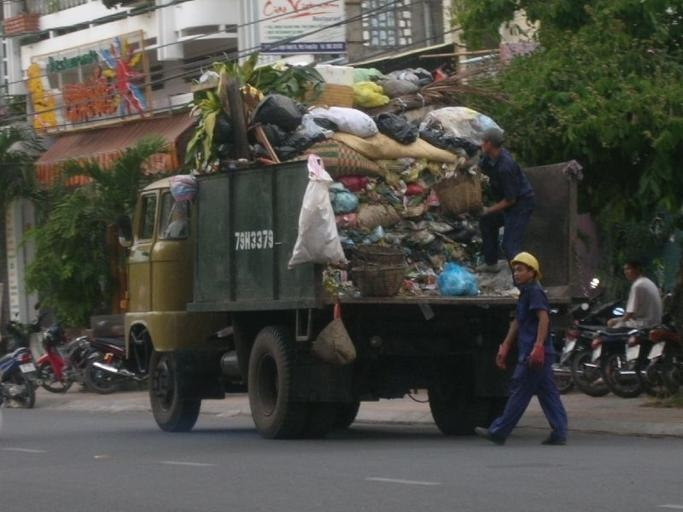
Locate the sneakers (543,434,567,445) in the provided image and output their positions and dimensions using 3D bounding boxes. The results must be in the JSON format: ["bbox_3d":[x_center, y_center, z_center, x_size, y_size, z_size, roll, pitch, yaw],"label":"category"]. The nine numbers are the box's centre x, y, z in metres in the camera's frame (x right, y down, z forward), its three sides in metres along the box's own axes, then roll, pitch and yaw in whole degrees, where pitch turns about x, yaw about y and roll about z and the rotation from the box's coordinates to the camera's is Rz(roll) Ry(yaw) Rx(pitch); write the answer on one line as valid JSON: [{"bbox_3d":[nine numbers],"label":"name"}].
[{"bbox_3d":[2.553,2.217,15.600,0.114,0.136,0.309,-2,2,-33],"label":"sneakers"}]

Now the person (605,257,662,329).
[{"bbox_3d":[4.577,0.624,20.352,0.855,1.139,0.752,2,3,25],"label":"person"}]

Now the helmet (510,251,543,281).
[{"bbox_3d":[2.245,0.093,15.505,0.367,0.192,0.270,24,-8,-12],"label":"helmet"}]

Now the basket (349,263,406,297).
[{"bbox_3d":[0.446,0.279,15.750,0.705,0.397,0.700,2,2,-13],"label":"basket"}]

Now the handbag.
[{"bbox_3d":[-0.314,-0.531,15.452,0.640,1.270,0.321,-3,5,-3],"label":"handbag"}]

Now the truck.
[{"bbox_3d":[-0.158,0.576,17.200,3.015,2.924,6.003,2,-3,-36],"label":"truck"}]

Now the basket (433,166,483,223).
[{"bbox_3d":[1.523,-0.832,16.930,0.675,0.689,0.489,-11,-12,-3],"label":"basket"}]

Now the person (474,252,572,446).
[{"bbox_3d":[2.202,1.125,15.571,0.896,2.333,0.626,-1,5,17],"label":"person"}]

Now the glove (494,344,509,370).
[{"bbox_3d":[1.963,1.196,15.875,0.109,0.212,0.282,10,21,9],"label":"glove"}]
